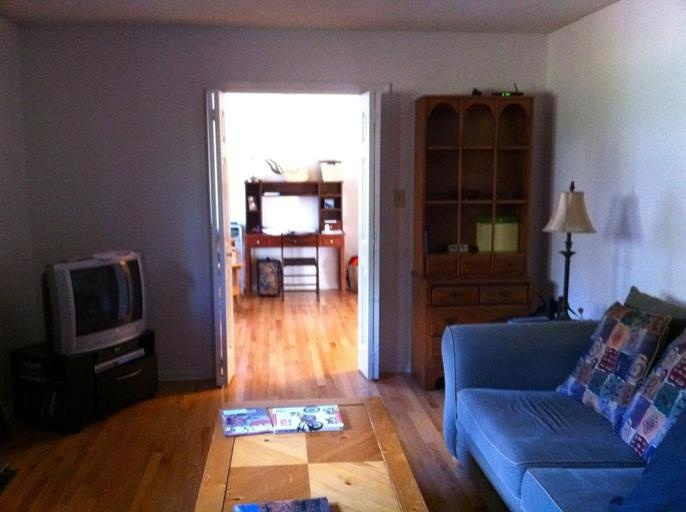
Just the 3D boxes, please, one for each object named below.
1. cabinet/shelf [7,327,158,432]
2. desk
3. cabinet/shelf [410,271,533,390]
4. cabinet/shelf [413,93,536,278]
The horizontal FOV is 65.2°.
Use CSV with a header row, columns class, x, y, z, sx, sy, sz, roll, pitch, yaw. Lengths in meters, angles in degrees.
class,x,y,z,sx,sy,sz,roll,pitch,yaw
cabinet/shelf,-1.953,0.680,4.042,0.574,0.632,0.943,6,13,22
desk,-0.703,0.105,7.982,1.493,0.919,0.592,0,11,0
cabinet/shelf,0.987,0.422,4.876,1.210,1.286,0.836,-1,4,-4
cabinet/shelf,1.153,-0.611,4.652,1.055,1.506,0.663,1,11,5
